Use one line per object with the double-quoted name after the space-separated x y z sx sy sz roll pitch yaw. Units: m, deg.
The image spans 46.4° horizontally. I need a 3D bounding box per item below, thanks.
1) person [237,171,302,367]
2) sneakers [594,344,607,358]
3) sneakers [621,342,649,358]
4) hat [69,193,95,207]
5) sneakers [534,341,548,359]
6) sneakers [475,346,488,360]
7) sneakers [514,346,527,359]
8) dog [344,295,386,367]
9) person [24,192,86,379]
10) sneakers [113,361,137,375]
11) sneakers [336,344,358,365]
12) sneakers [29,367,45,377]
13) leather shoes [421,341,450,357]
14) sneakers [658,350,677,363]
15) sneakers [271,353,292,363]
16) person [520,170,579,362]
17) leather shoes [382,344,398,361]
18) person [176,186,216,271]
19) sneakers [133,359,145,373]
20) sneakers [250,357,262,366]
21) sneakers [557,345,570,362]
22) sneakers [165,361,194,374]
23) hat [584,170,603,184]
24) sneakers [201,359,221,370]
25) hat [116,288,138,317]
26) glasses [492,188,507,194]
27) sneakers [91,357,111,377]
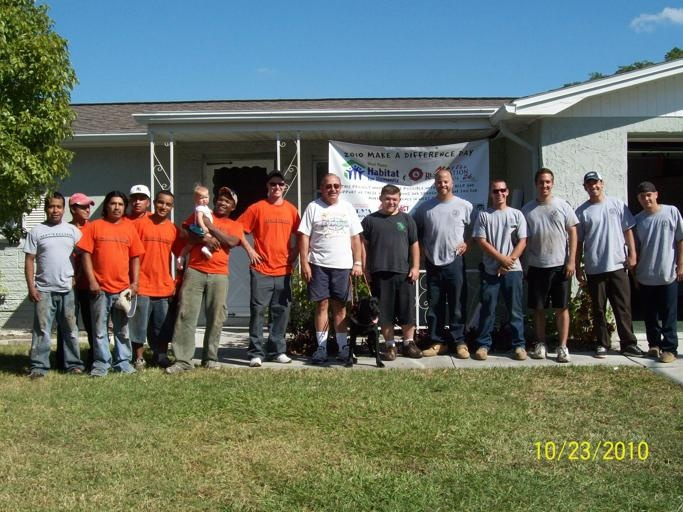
-0.878 0.180 10.108 0.743 2.399 0.771 -2 13 -9 "person"
3.287 1.209 10.069 0.122 0.133 0.187 4 14 17 "sneakers"
3.757 1.220 10.187 0.347 0.143 0.132 0 2 18 "sneakers"
-3.350 -0.699 10.057 0.428 0.202 0.303 -1 2 -1 "hat"
2.554 1.215 10.173 0.141 0.173 0.402 -2 -9 16 "sneakers"
1.797 1.246 10.165 0.117 0.127 0.303 -1 -8 11 "sneakers"
2.287 1.240 10.155 0.110 0.127 0.314 -2 -9 8 "sneakers"
0.323 0.942 10.073 0.427 0.959 0.735 0 13 1 "dog"
-3.467 0.368 9.632 0.698 2.162 0.739 -4 14 -19 "person"
-2.632 1.367 9.680 0.222 0.093 0.146 3 25 -1 "sneakers"
0.074 1.278 10.134 0.132 0.173 0.367 0 -7 -16 "sneakers"
-3.604 1.398 9.443 0.173 0.106 0.169 -5 15 -21 "sneakers"
1.249 1.244 10.509 0.395 0.268 0.131 1 1 -15 "leather shoes"
4.014 1.253 9.805 0.094 0.108 0.270 -5 -9 43 "sneakers"
-0.758 1.314 10.249 0.258 0.119 0.105 1 1 17 "sneakers"
2.701 0.147 10.128 0.645 2.426 0.949 -1 13 -5 "person"
0.629 1.260 10.307 0.128 0.158 0.363 0 -10 4 "leather shoes"
-1.836 -0.375 9.996 0.462 1.019 0.853 -2 13 -11 "person"
-2.506 1.362 9.913 0.085 0.118 0.169 3 -23 -8 "sneakers"
-1.071 1.328 10.039 0.169 0.139 0.202 -1 14 -6 "sneakers"
2.780 1.235 9.955 0.160 0.197 0.214 4 14 15 "sneakers"
-1.959 1.362 9.653 0.288 0.124 0.104 13 -13 -38 "sneakers"
3.257 -1.033 10.310 0.178 0.167 0.284 -14 -13 28 "hat"
-1.603 1.358 9.919 0.184 0.081 0.105 -3 0 22 "sneakers"
-2.618 0.587 9.700 0.190 0.386 0.297 1 13 4 "hat"
2.039 -0.832 10.225 0.179 0.077 0.082 0 13 -3 "glasses"
-2.901 1.361 9.569 0.199 0.178 0.302 -1 14 -4 "sneakers"
